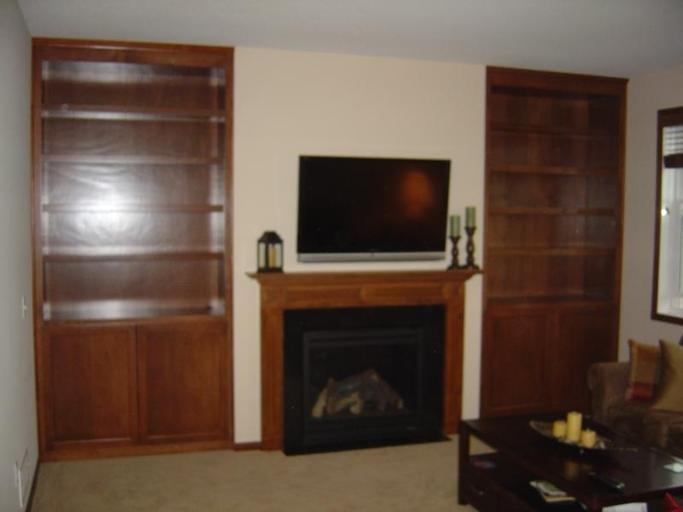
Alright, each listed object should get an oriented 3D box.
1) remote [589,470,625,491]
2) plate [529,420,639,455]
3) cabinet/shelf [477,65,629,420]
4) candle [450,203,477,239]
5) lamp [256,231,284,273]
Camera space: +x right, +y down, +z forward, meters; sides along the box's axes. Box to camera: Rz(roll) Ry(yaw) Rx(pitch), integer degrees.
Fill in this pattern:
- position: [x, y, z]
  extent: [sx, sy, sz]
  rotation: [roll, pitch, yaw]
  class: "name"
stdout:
- position: [1.478, 1.223, 3.240]
  extent: [0.057, 0.025, 0.165]
  rotation: [-2, 6, -8]
  class: "remote"
- position: [1.516, 1.136, 3.663]
  extent: [0.211, 0.055, 0.357]
  rotation: [1, 2, -25]
  class: "plate"
- position: [1.861, -0.139, 5.162]
  extent: [1.473, 2.895, 0.756]
  rotation: [-4, 15, -14]
  class: "cabinet/shelf"
- position: [1.015, -0.279, 4.830]
  extent: [0.254, 0.249, 0.179]
  rotation: [-1, 15, -3]
  class: "candle"
- position: [-0.557, -0.034, 4.512]
  extent: [0.191, 0.298, 0.118]
  rotation: [-2, 14, -9]
  class: "lamp"
